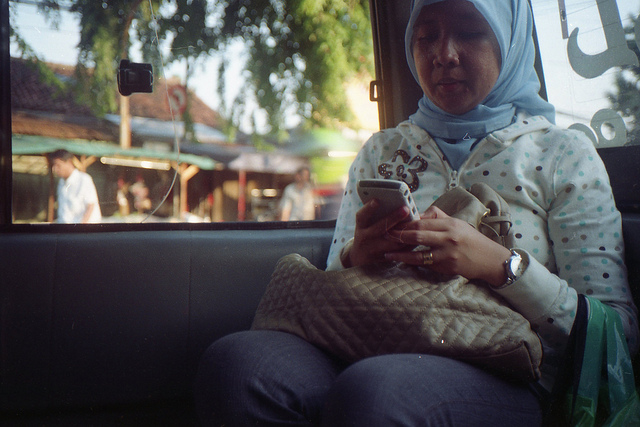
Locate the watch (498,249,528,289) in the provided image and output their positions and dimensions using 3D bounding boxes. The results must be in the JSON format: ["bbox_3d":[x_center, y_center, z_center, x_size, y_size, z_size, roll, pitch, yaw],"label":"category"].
[{"bbox_3d":[0.634,0.177,1.774,0.034,0.098,0.095,39,4,-26],"label":"watch"}]

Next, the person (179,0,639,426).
[{"bbox_3d":[0.331,-0.012,1.993,1.066,1.980,1.014,25,-23,-21],"label":"person"}]

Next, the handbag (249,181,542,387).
[{"bbox_3d":[0.259,0.266,1.758,0.728,0.295,0.652,0,36,9],"label":"handbag"}]

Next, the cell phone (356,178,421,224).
[{"bbox_3d":[0.219,-0.032,1.764,0.162,0.046,0.310,7,-30,23],"label":"cell phone"}]
